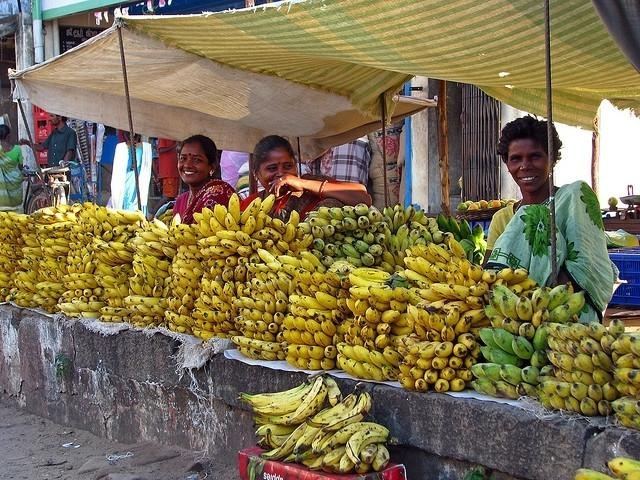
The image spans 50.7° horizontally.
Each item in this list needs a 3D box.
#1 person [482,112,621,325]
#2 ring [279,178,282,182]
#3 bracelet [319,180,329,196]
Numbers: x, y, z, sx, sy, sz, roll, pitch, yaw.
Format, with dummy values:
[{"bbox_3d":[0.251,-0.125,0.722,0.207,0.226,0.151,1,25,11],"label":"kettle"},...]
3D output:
[{"bbox_3d":[1.377,-0.186,4.112,0.768,1.344,1.053,1,-1,24],"label":"person"},{"bbox_3d":[-0.317,-0.482,5.423,0.034,0.008,0.035,-25,-2,-1],"label":"ring"},{"bbox_3d":[0.041,-0.402,5.220,0.022,0.087,0.087,22,-8,14],"label":"bracelet"}]
